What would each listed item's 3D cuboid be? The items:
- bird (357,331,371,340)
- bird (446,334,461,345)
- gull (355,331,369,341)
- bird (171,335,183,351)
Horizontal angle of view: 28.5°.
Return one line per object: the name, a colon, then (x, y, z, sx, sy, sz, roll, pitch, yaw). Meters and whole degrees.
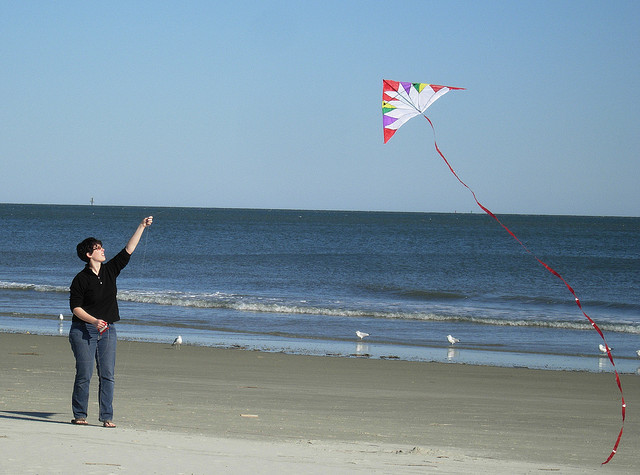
bird: (1.204, 2.663, 34.567, 0.159, 0.245, 0.434, 5, -6, -27)
bird: (3.655, 2.773, 34.171, 0.208, 0.254, 0.424, -2, 11, 38)
gull: (1.223, 2.689, 34.635, 0.309, 0.246, 0.728, 3, 7, 1)
bird: (-3.496, 2.580, 31.461, 0.180, 0.268, 0.341, 12, 12, -5)
